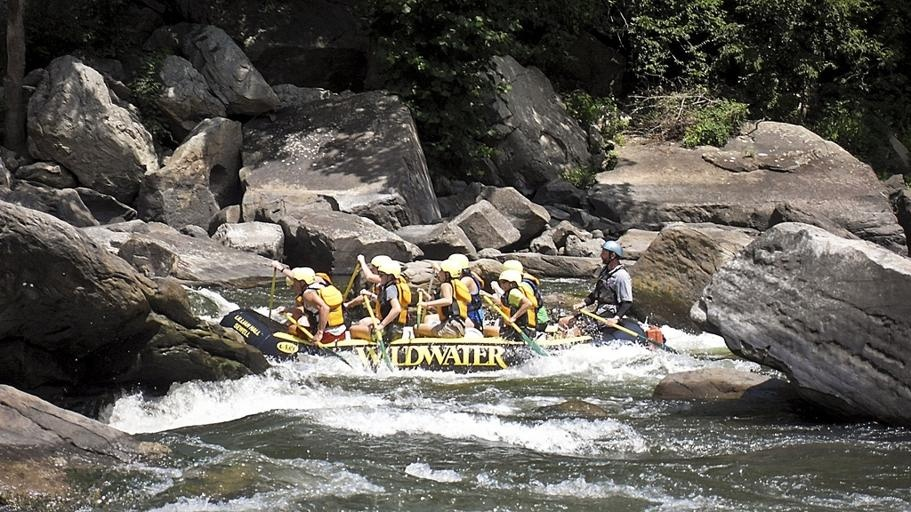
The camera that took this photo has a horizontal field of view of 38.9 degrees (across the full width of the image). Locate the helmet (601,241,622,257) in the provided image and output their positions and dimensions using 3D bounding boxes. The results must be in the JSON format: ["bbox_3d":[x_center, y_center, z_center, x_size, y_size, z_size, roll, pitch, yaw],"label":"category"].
[{"bbox_3d":[4.252,-0.201,35.255,0.498,0.356,0.391,0,10,2],"label":"helmet"}]

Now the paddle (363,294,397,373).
[{"bbox_3d":[-2.090,2.065,34.343,0.469,0.131,2.943,7,28,-25],"label":"paddle"}]

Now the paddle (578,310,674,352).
[{"bbox_3d":[4.563,2.058,35.001,2.628,0.249,0.140,21,15,12],"label":"paddle"}]

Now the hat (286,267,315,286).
[{"bbox_3d":[-4.096,0.522,34.202,0.624,0.422,0.529,12,19,44],"label":"hat"}]

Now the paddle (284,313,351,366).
[{"bbox_3d":[-3.682,2.245,34.003,1.892,0.377,0.172,35,42,4],"label":"paddle"}]

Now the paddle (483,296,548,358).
[{"bbox_3d":[1.615,1.935,34.640,0.134,0.293,2.530,1,37,-51],"label":"paddle"}]
